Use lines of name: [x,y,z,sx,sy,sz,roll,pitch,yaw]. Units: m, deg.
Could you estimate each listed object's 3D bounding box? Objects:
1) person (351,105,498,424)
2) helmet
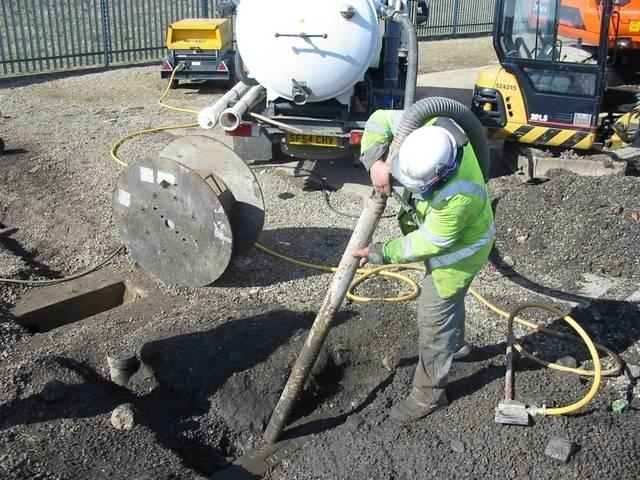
person: [0.821,0.293,3.783,0.973,2.384,0.542,0,25,0]
helmet: [0.708,-0.528,3.501,0.377,0.470,0.365,44,3,22]
